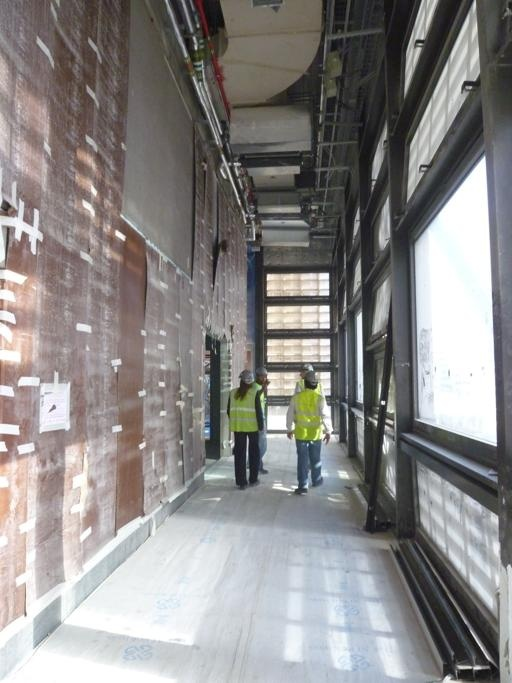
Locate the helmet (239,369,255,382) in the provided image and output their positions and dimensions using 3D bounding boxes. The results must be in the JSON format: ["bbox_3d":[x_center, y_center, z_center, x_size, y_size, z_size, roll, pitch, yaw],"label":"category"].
[{"bbox_3d":[-0.123,0.450,6.015,0.109,0.174,0.164,6,21,-21],"label":"helmet"}]

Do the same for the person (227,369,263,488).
[{"bbox_3d":[-0.140,1.189,6.098,0.485,1.573,0.516,-2,-4,0],"label":"person"}]

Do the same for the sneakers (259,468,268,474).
[{"bbox_3d":[0.115,2.049,7.119,0.121,0.141,0.053,-1,-6,5],"label":"sneakers"}]

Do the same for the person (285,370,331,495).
[{"bbox_3d":[0.707,1.191,6.068,0.575,1.581,0.877,-2,-4,5],"label":"person"}]
